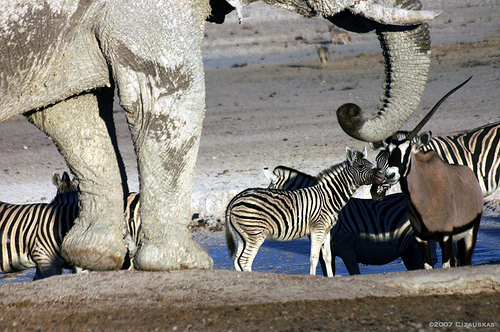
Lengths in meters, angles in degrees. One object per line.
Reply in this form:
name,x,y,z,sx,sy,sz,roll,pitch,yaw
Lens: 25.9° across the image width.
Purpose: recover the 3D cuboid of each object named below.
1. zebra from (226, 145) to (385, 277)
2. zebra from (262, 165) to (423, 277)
zebra,0.767,0.786,15.077,2.375,1.745,0.668,-3,2,-13
zebra,0.742,0.749,15.096,2.374,1.784,0.722,-3,0,-17
